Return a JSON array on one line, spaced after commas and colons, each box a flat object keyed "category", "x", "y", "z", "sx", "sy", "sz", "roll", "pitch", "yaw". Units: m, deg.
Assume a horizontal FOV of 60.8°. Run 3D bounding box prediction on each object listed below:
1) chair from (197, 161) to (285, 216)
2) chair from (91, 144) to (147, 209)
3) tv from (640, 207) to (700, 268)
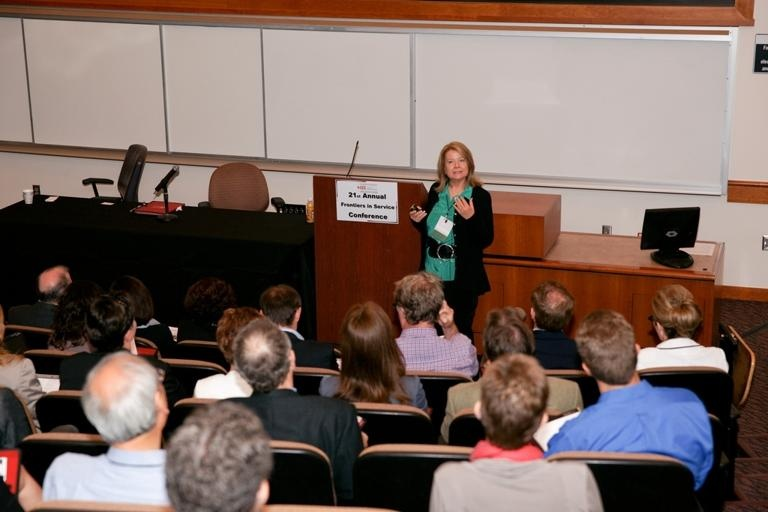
[{"category": "chair", "x": -1.412, "y": -0.677, "z": 6.412, "sx": 0.533, "sy": 0.696, "sz": 0.531, "roll": -3, "pitch": 26, "yaw": -9}, {"category": "chair", "x": -2.658, "y": -0.837, "z": 6.502, "sx": 0.532, "sy": 0.628, "sz": 1.132, "roll": -1, "pitch": 5, "yaw": -24}, {"category": "tv", "x": 1.949, "y": -0.182, "z": 4.640, "sx": 0.447, "sy": 0.429, "sz": 0.420, "roll": 1, "pitch": 24, "yaw": 9}]
